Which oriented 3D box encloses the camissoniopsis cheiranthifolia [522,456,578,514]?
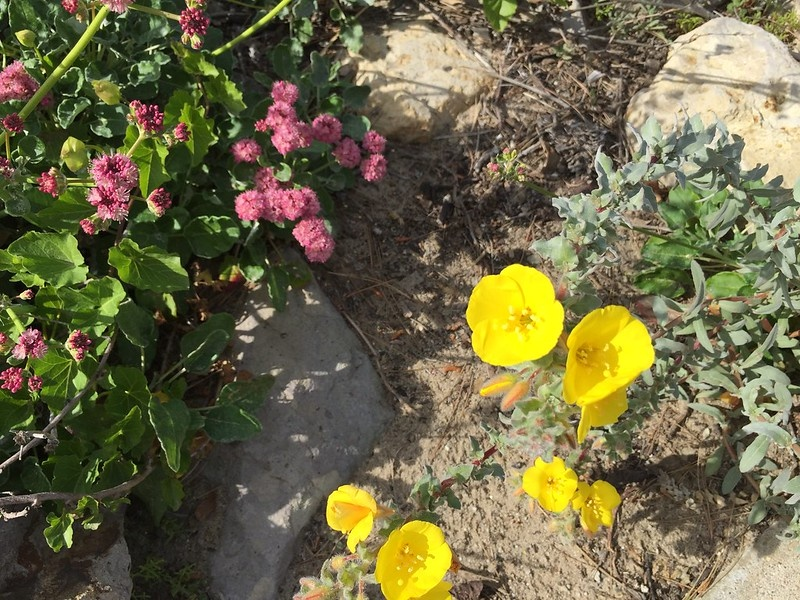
[{"bbox_3d":[0.660,0.806,3.280,0.218,0.162,0.190,33,75,12],"label":"camissoniopsis cheiranthifolia"}]

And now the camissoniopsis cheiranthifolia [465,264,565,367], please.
[{"bbox_3d":[0.433,0.062,2.871,0.345,0.170,0.350,-17,71,-4],"label":"camissoniopsis cheiranthifolia"}]

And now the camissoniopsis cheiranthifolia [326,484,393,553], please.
[{"bbox_3d":[-0.193,0.905,3.161,0.236,0.256,0.220,-43,75,-12],"label":"camissoniopsis cheiranthifolia"}]

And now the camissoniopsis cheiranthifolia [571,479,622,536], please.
[{"bbox_3d":[0.887,0.978,3.438,0.250,0.261,0.124,-10,21,-21],"label":"camissoniopsis cheiranthifolia"}]
